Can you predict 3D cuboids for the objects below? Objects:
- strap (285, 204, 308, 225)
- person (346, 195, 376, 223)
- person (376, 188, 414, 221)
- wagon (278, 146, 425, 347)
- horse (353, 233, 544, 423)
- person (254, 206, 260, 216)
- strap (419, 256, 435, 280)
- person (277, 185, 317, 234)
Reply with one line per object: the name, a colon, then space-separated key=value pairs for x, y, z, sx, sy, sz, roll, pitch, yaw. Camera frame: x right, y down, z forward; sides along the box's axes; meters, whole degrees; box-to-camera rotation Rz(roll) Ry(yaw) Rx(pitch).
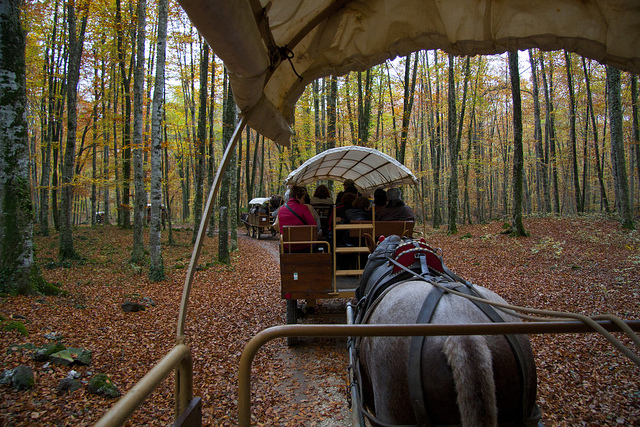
strap: x=-0.697 y=0.028 z=12.746 sx=0.074 sy=0.722 sz=0.090 roll=-44 pitch=0 yaw=24
person: x=1.110 y=-0.130 z=12.508 sx=0.864 sy=0.758 sz=0.700 roll=3 pitch=1 yaw=18
person: x=2.075 y=-0.282 z=12.782 sx=0.717 sy=1.069 sz=1.082 roll=-1 pitch=15 yaw=1
wagon: x=1.421 y=0.018 z=15.445 sx=4.265 sy=5.347 sz=7.326 roll=0 pitch=2 yaw=-7
horse: x=2.076 y=2.184 z=10.181 sx=2.401 sy=2.919 sz=4.839 roll=-5 pitch=7 yaw=-6
person: x=-4.077 y=-0.202 z=29.276 sx=0.288 sy=0.596 sz=1.280 roll=2 pitch=1 yaw=-11
strap: x=2.045 y=1.033 z=8.943 sx=0.115 sy=0.475 sz=0.074 roll=-7 pitch=-23 yaw=0
person: x=-0.694 y=-0.063 z=13.125 sx=1.049 sy=1.532 sz=0.891 roll=-3 pitch=-13 yaw=14
